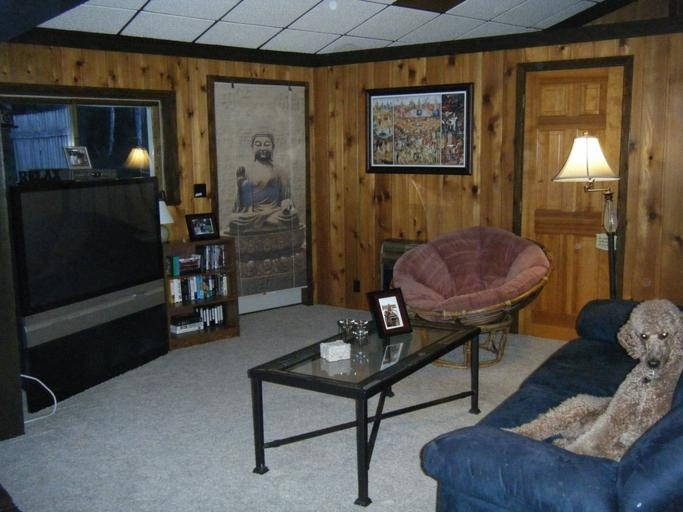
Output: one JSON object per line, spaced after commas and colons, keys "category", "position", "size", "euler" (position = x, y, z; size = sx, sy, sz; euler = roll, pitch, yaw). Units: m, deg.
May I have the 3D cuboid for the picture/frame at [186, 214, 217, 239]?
{"category": "picture/frame", "position": [-1.336, -0.279, 5.196], "size": [0.024, 0.199, 0.243], "euler": [-24, -9, 41]}

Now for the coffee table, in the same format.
{"category": "coffee table", "position": [0.026, 0.662, 3.117], "size": [0.837, 0.566, 1.400], "euler": [3, 9, 33]}

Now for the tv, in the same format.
{"category": "tv", "position": [-1.908, 0.043, 4.047], "size": [0.140, 1.069, 1.358], "euler": [5, 12, 28]}

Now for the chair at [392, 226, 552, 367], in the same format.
{"category": "chair", "position": [1.084, 0.205, 4.504], "size": [1.268, 0.880, 1.218], "euler": [-26, 28, -37]}

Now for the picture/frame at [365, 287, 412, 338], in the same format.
{"category": "picture/frame", "position": [0.305, 0.361, 3.508], "size": [0.291, 0.296, 0.071], "euler": [-6, -6, -32]}

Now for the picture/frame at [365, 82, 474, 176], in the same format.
{"category": "picture/frame", "position": [0.821, -1.305, 5.515], "size": [1.063, 0.745, 0.048], "euler": [4, 8, 25]}

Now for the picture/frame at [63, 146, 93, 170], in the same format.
{"category": "picture/frame", "position": [-2.109, -0.785, 4.369], "size": [0.168, 0.179, 0.183], "euler": [-7, 14, -25]}

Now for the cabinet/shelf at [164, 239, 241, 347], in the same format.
{"category": "cabinet/shelf", "position": [-1.338, 0.345, 5.151], "size": [0.398, 1.097, 0.954], "euler": [3, 7, 40]}

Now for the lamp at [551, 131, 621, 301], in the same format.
{"category": "lamp", "position": [2.046, -0.310, 4.542], "size": [0.531, 1.388, 0.718], "euler": [5, 14, 26]}
